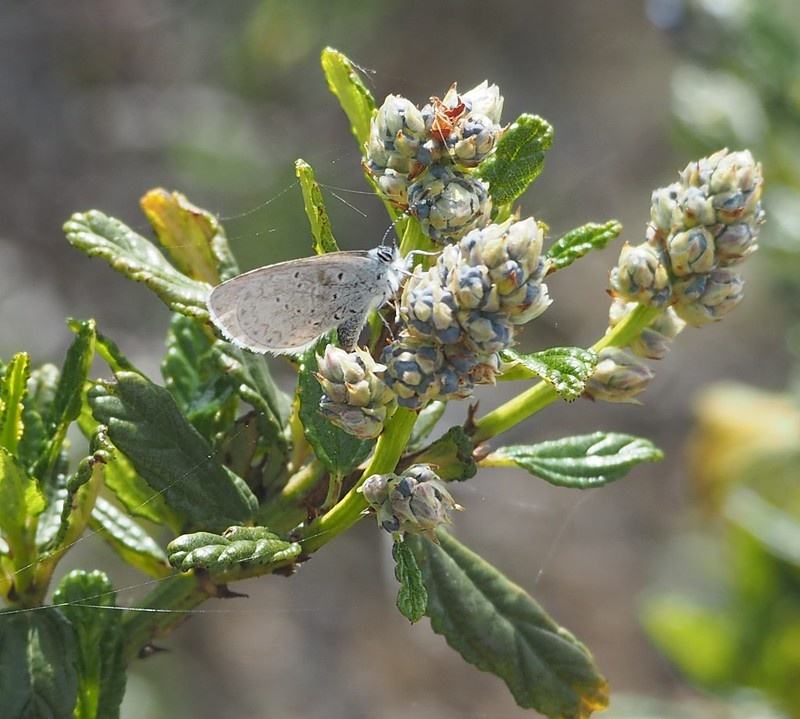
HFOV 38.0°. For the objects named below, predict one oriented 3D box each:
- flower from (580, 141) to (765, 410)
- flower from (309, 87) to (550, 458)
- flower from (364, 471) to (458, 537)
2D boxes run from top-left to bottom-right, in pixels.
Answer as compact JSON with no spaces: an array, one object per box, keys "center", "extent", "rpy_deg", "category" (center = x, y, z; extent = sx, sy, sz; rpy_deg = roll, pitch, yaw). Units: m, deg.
[{"center":[0.491,-0.181,2.037],"extent":[0.199,0.234,0.444],"rpy_deg":[1,-1,-4],"category":"flower"},{"center":[0.050,-0.173,1.985],"extent":[0.444,0.521,0.203],"rpy_deg":[38,11,-5],"category":"flower"},{"center":[0.011,0.236,1.930],"extent":[0.161,0.087,0.132],"rpy_deg":[8,22,1],"category":"flower"}]
